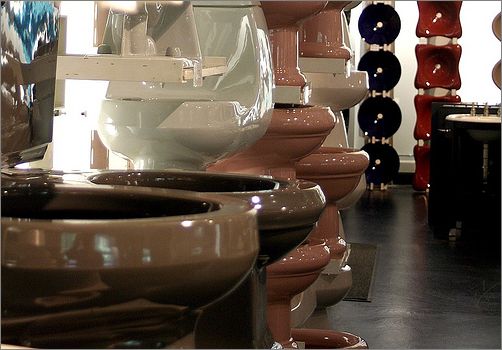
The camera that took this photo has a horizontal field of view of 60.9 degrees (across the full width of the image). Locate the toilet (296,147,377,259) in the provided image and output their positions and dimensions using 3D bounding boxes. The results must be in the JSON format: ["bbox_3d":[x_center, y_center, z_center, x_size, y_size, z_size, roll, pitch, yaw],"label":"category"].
[{"bbox_3d":[0.371,0.134,2.202,0.489,0.563,0.506,1,1,1],"label":"toilet"}]

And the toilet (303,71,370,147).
[{"bbox_3d":[0.557,-0.430,2.751,0.385,0.508,0.419,12,14,20],"label":"toilet"}]
